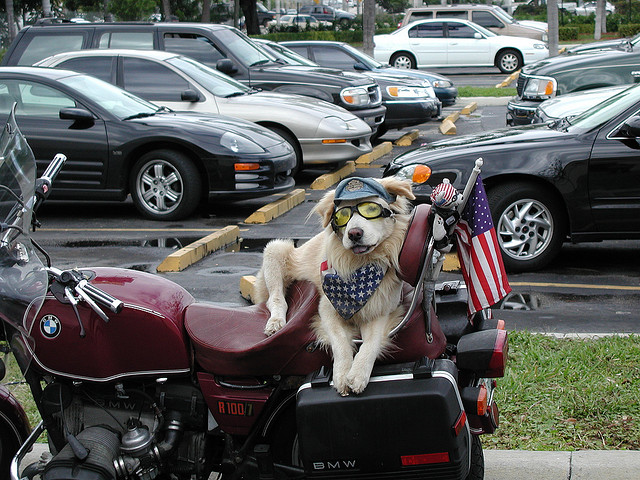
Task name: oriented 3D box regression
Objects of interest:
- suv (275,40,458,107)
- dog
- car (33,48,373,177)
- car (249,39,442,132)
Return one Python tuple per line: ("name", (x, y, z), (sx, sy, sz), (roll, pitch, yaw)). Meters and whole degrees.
("suv", (1.302, -4.507, 17.218), (4.388, 1.472, 1.967), (3, 15, 7))
("dog", (0.085, 0.134, 3.352), (0.718, 0.640, 1.073), (1, 19, 4))
("car", (-1.739, -2.389, 11.455), (4.992, 1.820, 2.320), (3, 14, 8))
("car", (0.724, -3.418, 15.232), (4.475, 1.606, 1.936), (5, 16, 13))
